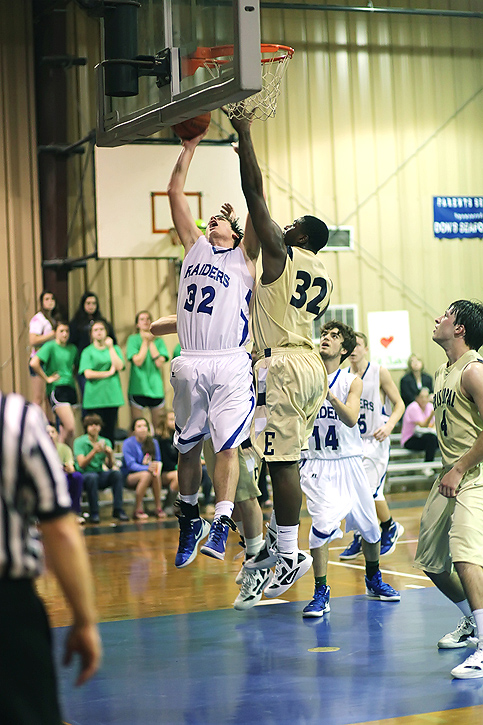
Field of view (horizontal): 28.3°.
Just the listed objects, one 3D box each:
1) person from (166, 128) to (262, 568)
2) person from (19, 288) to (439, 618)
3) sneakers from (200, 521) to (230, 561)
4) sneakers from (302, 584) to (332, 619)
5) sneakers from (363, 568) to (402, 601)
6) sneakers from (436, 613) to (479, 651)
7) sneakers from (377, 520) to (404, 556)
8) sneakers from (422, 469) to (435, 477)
[{"bbox_3d":[-0.108,-0.083,4.349,0.404,1.976,0.470,0,-4,-27],"label":"person"},{"bbox_3d":[-0.178,0.568,5.903,1.413,0.535,2.164,-5,17,2],"label":"person"},{"bbox_3d":[-0.103,0.769,4.176,0.090,0.127,0.275,2,-12,9],"label":"sneakers"},{"bbox_3d":[0.384,1.217,4.889,0.078,0.109,0.224,-7,-6,18],"label":"sneakers"},{"bbox_3d":[0.747,1.215,5.175,0.086,0.128,0.260,0,-8,-26],"label":"sneakers"},{"bbox_3d":[0.931,1.147,4.083,0.240,0.151,0.096,-1,-4,-13],"label":"sneakers"},{"bbox_3d":[0.945,1.107,6.057,0.133,0.223,0.349,-2,-3,10],"label":"sneakers"},{"bbox_3d":[2.179,1.278,11.155,0.088,0.046,0.118,2,-22,-1],"label":"sneakers"}]
